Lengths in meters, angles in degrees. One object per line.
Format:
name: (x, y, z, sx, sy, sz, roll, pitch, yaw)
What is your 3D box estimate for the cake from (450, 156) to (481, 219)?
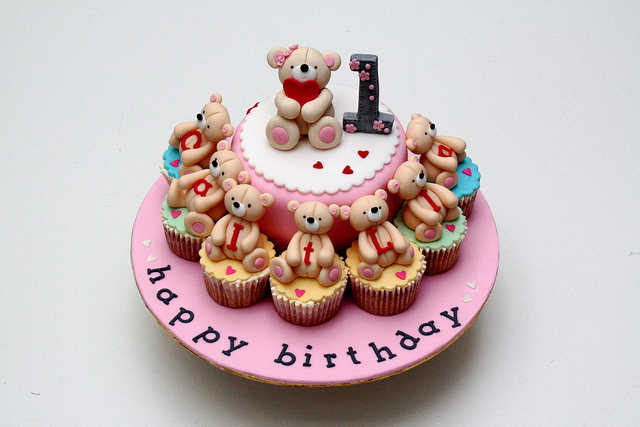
cake: (2.190, -0.394, 10.934, 0.547, 0.457, 0.685, -6, 59, 7)
